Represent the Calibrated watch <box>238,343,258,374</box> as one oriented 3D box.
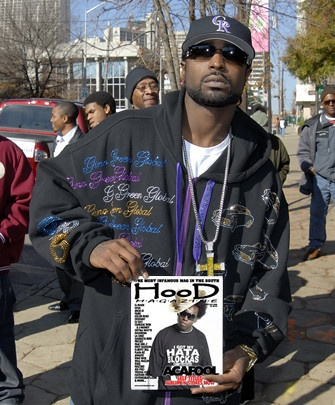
[{"bbox_3d":[0.264,0.504,1.556,0.070,0.074,0.031,8,-5,32],"label":"Calibrated watch"}]
